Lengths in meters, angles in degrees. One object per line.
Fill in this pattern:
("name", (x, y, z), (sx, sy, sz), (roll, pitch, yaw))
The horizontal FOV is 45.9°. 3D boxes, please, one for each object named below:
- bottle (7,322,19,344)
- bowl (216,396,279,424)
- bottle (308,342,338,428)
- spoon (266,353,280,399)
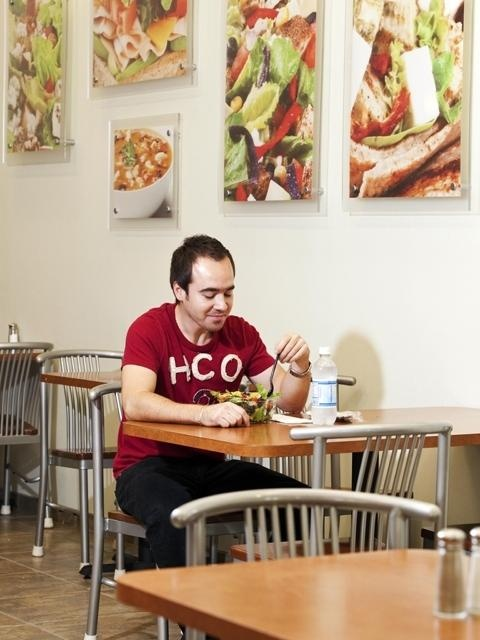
("bottle", (-1.859, 0.096, 4.694), (0.079, 0.173, 0.472), (2, -4, -21))
("bowl", (0.015, 0.314, 2.044), (0.210, 0.110, 0.225), (1, -4, 0))
("bottle", (0.290, 0.223, 1.934), (0.088, 0.261, 0.392), (0, -4, 9))
("spoon", (0.140, 0.235, 2.268), (0.032, 0.231, 0.034), (12, 11, 19))
